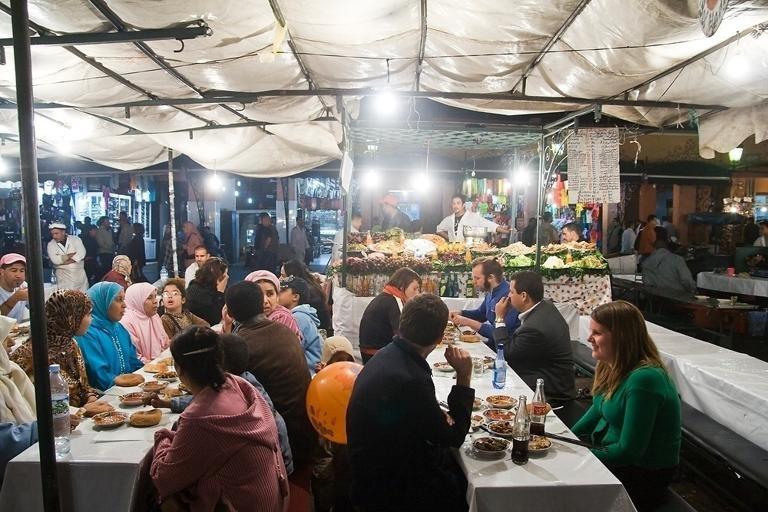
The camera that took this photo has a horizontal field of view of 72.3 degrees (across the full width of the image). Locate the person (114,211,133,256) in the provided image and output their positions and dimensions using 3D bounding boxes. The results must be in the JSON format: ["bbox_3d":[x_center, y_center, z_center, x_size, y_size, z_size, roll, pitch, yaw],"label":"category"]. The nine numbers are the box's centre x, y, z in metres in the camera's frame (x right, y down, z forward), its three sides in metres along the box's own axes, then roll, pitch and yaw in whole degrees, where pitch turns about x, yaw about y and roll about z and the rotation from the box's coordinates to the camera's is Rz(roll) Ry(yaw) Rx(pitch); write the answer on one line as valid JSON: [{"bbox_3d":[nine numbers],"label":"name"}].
[{"bbox_3d":[-6.803,-0.597,13.789,0.418,1.094,0.652,-4,6,-26],"label":"person"}]

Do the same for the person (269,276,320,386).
[{"bbox_3d":[-0.952,0.803,5.542,0.439,0.415,1.130,2,42,-23],"label":"person"}]

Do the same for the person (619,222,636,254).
[{"bbox_3d":[7.344,-0.535,15.760,0.450,0.884,1.494,1,5,25],"label":"person"}]

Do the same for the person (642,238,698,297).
[{"bbox_3d":[5.532,0.262,10.256,0.636,1.052,1.077,-29,16,-26],"label":"person"}]

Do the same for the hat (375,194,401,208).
[{"bbox_3d":[0.114,-1.279,11.813,0.575,0.250,0.717,1,5,5],"label":"hat"}]

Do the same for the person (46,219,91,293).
[{"bbox_3d":[-6.639,0.045,11.008,0.673,1.447,0.916,-5,6,-31],"label":"person"}]

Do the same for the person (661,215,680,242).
[{"bbox_3d":[8.179,-0.763,15.006,0.308,0.650,1.732,1,5,23],"label":"person"}]

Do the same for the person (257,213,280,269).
[{"bbox_3d":[-3.398,-0.370,15.382,0.542,1.672,0.530,-2,6,-6],"label":"person"}]

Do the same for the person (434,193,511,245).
[{"bbox_3d":[2.122,-0.838,11.984,1.501,1.466,0.377,-14,-26,3],"label":"person"}]

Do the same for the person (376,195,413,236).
[{"bbox_3d":[0.233,-0.953,11.793,0.581,0.789,1.022,0,5,11],"label":"person"}]

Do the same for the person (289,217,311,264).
[{"bbox_3d":[-2.646,-0.477,16.562,0.462,1.503,0.989,-1,5,4],"label":"person"}]

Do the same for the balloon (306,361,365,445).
[{"bbox_3d":[-0.385,1.344,4.926,0.551,0.596,0.547,-2,4,-33],"label":"balloon"}]
